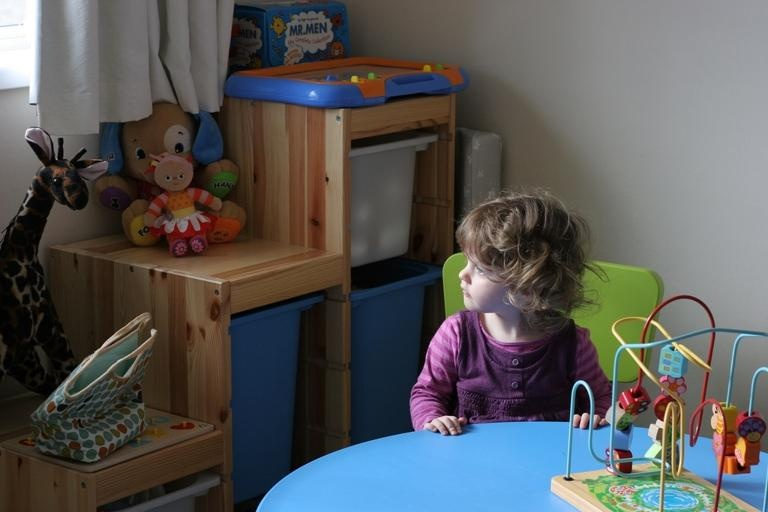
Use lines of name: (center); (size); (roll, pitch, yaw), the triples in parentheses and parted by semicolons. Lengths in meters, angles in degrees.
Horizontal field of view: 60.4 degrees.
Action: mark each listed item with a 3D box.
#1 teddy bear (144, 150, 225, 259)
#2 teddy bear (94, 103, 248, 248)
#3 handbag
teddy bear: (-0.576, -0.156, 1.890); (0.193, 0.264, 0.234); (1, 16, 1)
teddy bear: (-0.648, -0.251, 1.988); (0.367, 0.474, 0.351); (-5, 5, -20)
handbag: (-0.663, 0.317, 1.568); (0.188, 0.240, 0.329); (24, 19, 12)
